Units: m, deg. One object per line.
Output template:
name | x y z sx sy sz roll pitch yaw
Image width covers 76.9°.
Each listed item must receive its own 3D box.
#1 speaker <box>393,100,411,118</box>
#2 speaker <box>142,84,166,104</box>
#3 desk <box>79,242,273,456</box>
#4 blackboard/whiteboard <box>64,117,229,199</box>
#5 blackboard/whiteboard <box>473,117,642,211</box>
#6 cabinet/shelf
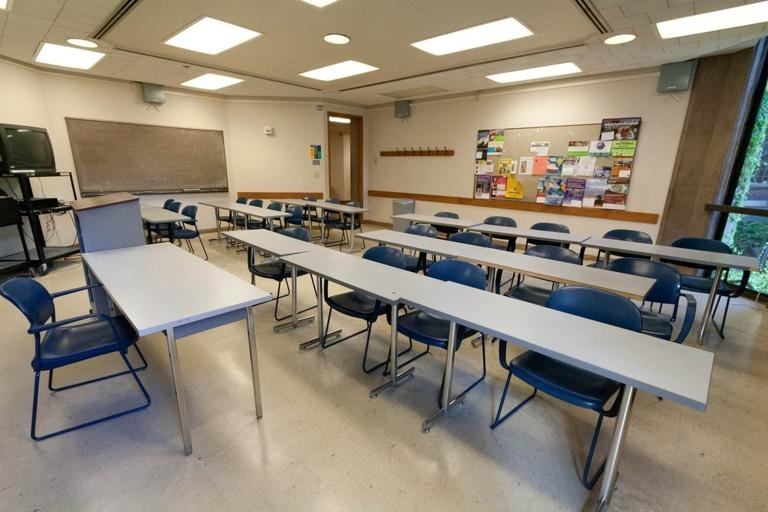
speaker | 0.384 -3.116 10.265 0.354 0.306 0.115 7 17 34
speaker | -4.376 -3.046 9.148 0.443 0.358 0.281 -6 15 -31
desk | -2.228 0.917 5.204 1.159 1.717 2.000 -11 18 -42
blackboard/whiteboard | -4.681 -1.856 9.269 2.334 1.344 0.410 -6 16 -32
blackboard/whiteboard | 3.142 -1.616 8.444 1.956 1.102 0.026 10 19 38
cabinet/shelf | -5.446 -0.497 7.305 0.829 1.516 1.277 2 13 2
